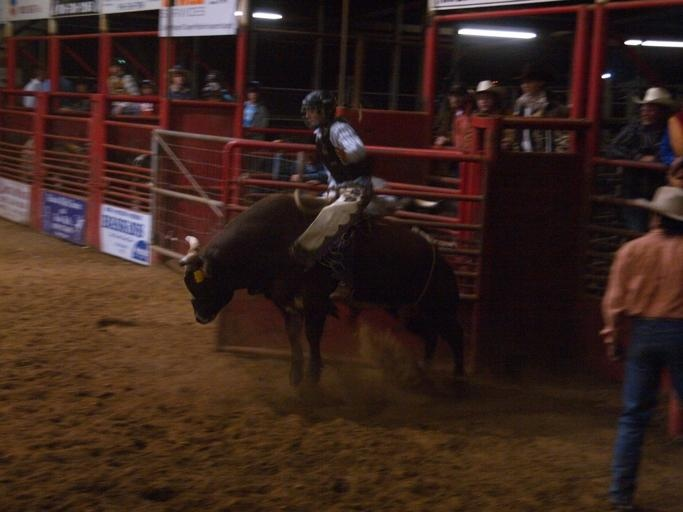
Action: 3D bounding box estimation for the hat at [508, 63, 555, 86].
[{"bbox_3d":[2.317,-2.153,7.407,0.368,0.257,0.497,6,13,14],"label":"hat"}]

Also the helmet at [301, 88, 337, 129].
[{"bbox_3d":[-0.182,-1.243,5.312,0.288,0.315,0.252,3,14,0],"label":"helmet"}]

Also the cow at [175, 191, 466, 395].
[{"bbox_3d":[-0.107,0.341,5.746,2.961,1.469,0.849,4,-4,-29],"label":"cow"}]

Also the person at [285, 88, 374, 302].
[{"bbox_3d":[-0.056,-0.561,5.316,0.647,1.639,0.620,4,15,1],"label":"person"}]

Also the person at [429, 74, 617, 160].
[{"bbox_3d":[1.945,-1.583,7.469,1.599,1.280,0.351,2,-25,10],"label":"person"}]

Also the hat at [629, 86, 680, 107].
[{"bbox_3d":[3.037,-1.594,6.040,0.389,0.108,0.308,5,-3,-10],"label":"hat"}]
